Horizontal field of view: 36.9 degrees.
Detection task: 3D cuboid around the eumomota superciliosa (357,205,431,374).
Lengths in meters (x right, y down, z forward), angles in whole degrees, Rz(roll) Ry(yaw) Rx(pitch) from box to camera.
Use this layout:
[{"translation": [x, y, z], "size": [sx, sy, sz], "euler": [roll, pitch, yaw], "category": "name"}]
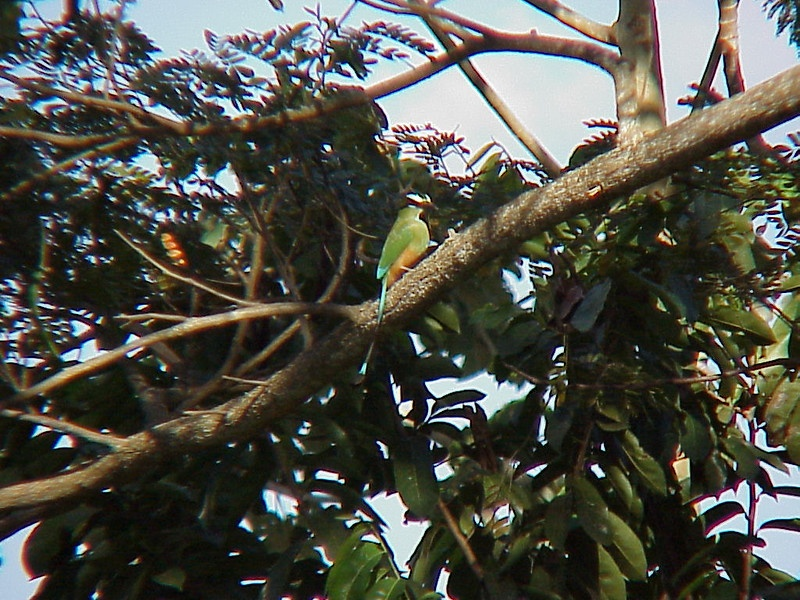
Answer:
[{"translation": [-0.004, -0.003, 1.391], "size": [0.074, 0.200, 0.192], "euler": [4, -53, -2], "category": "eumomota superciliosa"}]
